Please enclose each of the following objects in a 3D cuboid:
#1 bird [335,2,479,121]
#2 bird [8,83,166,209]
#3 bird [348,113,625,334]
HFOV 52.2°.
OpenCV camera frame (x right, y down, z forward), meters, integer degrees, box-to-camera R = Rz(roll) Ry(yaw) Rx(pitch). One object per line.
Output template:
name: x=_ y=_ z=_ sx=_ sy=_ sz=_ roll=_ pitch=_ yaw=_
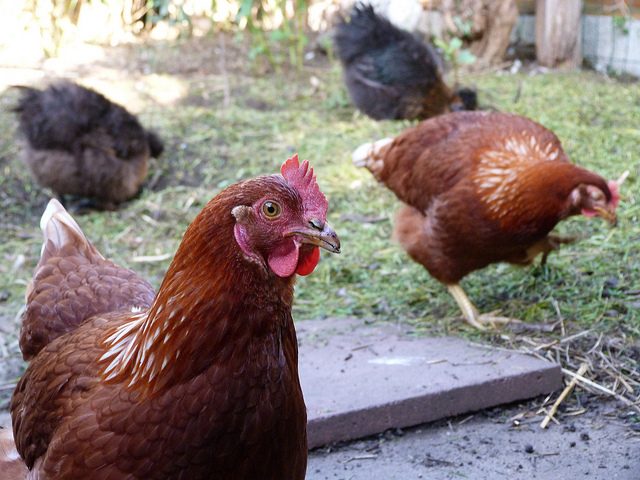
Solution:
bird: x=0.478 y=-0.997 z=3.723 sx=0.830 sy=0.673 sz=0.244 roll=8 pitch=21 yaw=33
bird: x=-1.359 y=-0.429 z=3.656 sx=0.977 sy=0.667 sz=0.534 roll=10 pitch=25 yaw=-22
bird: x=0.815 y=-0.232 z=3.701 sx=1.527 sy=0.986 sz=0.751 roll=18 pitch=43 yaw=33
